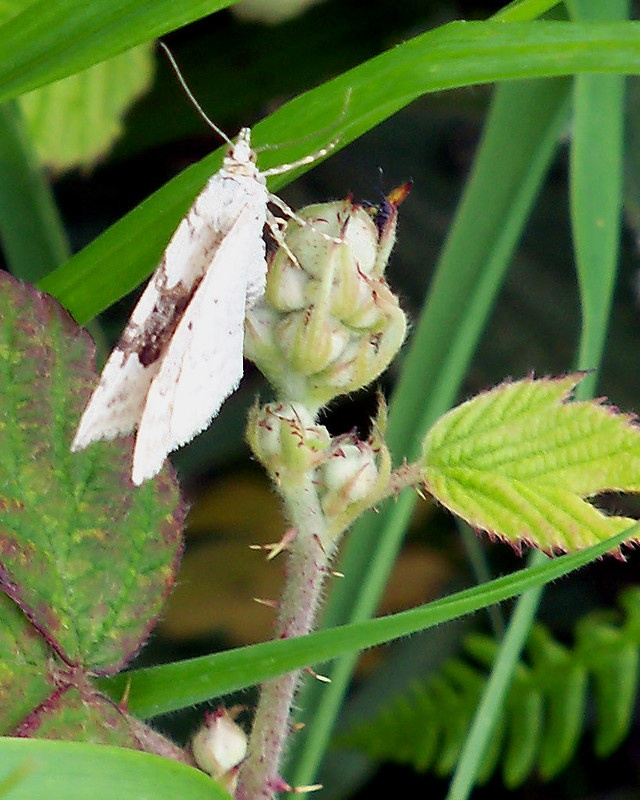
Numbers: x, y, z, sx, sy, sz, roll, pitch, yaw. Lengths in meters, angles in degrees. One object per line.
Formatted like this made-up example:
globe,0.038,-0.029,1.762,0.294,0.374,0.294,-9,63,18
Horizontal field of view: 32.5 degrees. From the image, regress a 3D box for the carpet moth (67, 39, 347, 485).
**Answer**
carpet moth,-0.107,-0.125,1.136,0.188,0.394,0.178,36,-24,-35
